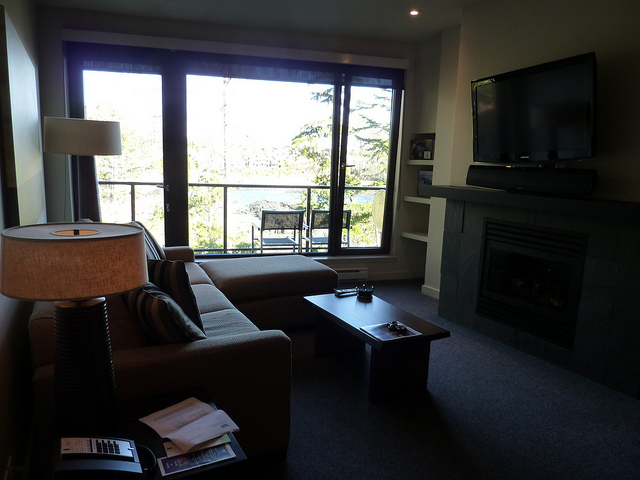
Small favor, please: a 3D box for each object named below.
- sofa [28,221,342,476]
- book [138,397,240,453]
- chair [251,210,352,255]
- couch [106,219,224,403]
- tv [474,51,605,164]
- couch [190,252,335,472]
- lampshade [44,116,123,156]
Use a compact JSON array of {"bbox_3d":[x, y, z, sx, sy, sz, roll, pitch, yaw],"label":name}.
[{"bbox_3d":[-0.736,0.605,2.723,1.318,0.782,1.908,-4,13,-20],"label":"sofa"},{"bbox_3d":[-0.571,0.800,2.080,0.264,0.056,0.393,-11,8,-44],"label":"book"},{"bbox_3d":[-0.219,-0.076,5.994,1.185,0.800,0.505,-2,18,-17],"label":"chair"},{"bbox_3d":[-0.945,0.226,2.811,0.536,0.942,1.578,-4,15,-19],"label":"couch"},{"bbox_3d":[1.704,-1.021,3.857,0.110,0.747,0.963,-15,13,-42],"label":"tv"},{"bbox_3d":[-0.289,0.630,2.889,0.863,0.775,1.623,-3,16,-19],"label":"couch"},{"bbox_3d":[-2.046,-0.908,4.119,0.614,0.286,0.618,-1,14,-23],"label":"lampshade"}]
